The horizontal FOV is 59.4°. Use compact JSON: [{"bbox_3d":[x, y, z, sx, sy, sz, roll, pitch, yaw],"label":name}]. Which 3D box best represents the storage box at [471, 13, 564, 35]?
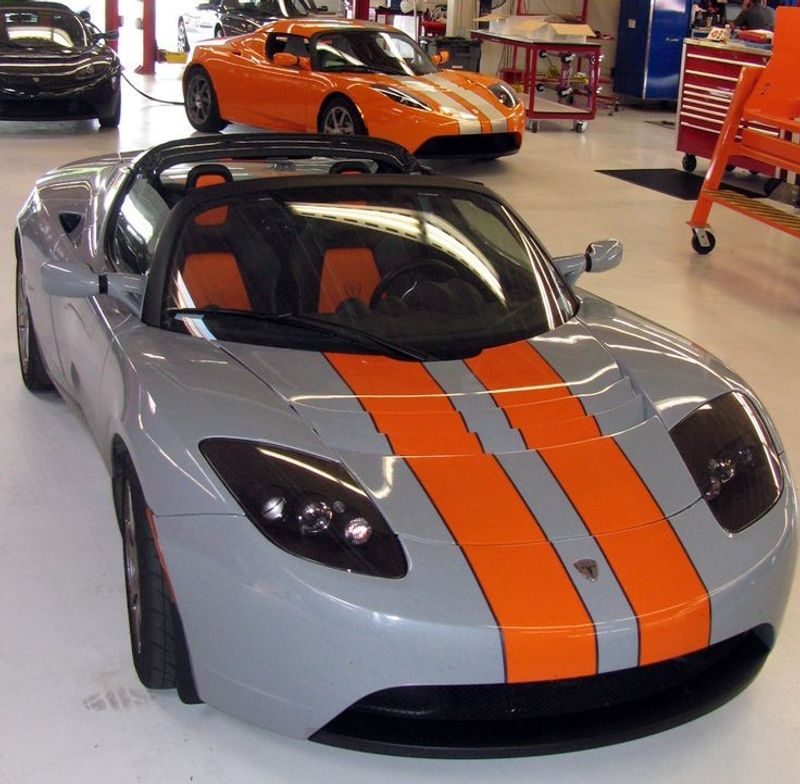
[{"bbox_3d":[1.912,-5.806,11.092,0.944,0.282,1.237,-7,23,-27],"label":"storage box"}]

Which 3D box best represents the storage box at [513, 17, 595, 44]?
[{"bbox_3d":[2.392,-5.508,10.712,1.088,0.326,0.356,5,23,6],"label":"storage box"}]

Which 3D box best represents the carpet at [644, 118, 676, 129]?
[{"bbox_3d":[4.289,-4.444,11.575,0.472,0.164,1.067,8,22,15],"label":"carpet"}]

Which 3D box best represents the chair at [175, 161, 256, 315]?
[{"bbox_3d":[-0.536,-0.430,1.975,0.120,0.356,0.197,-11,7,-20],"label":"chair"}]

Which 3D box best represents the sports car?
[{"bbox_3d":[-0.237,-0.036,2.174,1.258,0.664,2.399,-8,28,-23],"label":"sports car"}]
